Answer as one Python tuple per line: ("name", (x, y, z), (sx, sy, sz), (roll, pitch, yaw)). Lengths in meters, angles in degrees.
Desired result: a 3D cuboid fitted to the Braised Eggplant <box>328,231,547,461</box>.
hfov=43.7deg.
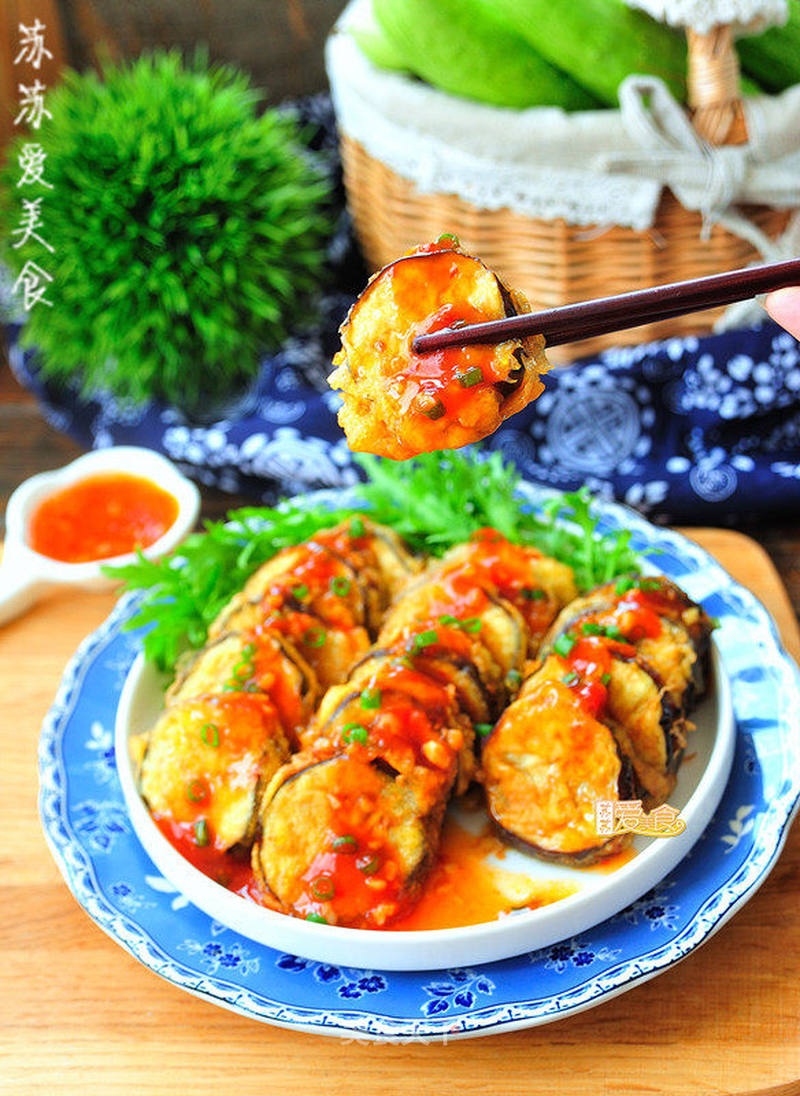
("Braised Eggplant", (0.100, -0.430, 2.118), (0.469, 0.181, 0.458), (17, 86, 15))
